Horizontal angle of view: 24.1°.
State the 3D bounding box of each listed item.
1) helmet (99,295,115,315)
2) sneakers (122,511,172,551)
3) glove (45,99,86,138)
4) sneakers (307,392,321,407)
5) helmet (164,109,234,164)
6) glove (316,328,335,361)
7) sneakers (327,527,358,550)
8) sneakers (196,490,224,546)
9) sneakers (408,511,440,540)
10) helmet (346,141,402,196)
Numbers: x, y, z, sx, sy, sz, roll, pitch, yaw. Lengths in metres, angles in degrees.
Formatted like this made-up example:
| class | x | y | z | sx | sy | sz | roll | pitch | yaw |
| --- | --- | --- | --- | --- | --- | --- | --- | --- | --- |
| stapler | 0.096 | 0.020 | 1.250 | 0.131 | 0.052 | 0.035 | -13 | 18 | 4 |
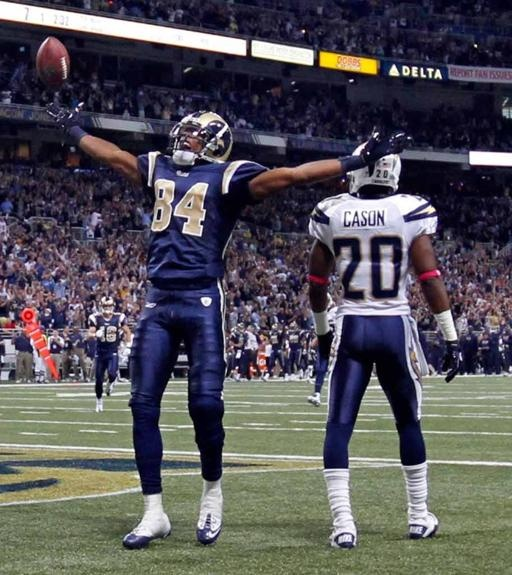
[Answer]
| class | x | y | z | sx | sy | sz | roll | pitch | yaw |
| --- | --- | --- | --- | --- | --- | --- | --- | --- | --- |
| helmet | -2.388 | 0.259 | 18.961 | 0.266 | 0.340 | 0.368 | 0 | -6 | -10 |
| sneakers | -0.575 | 1.271 | 6.294 | 0.098 | 0.131 | 0.288 | 1 | -2 | 30 |
| glove | -1.184 | -1.044 | 7.422 | 0.259 | 0.093 | 0.268 | 16 | 25 | 27 |
| sneakers | 0.750 | 1.486 | 16.067 | 0.106 | 0.175 | 0.329 | -2 | -22 | 13 |
| helmet | -0.310 | -0.866 | 6.992 | 0.274 | 0.316 | 0.370 | 1 | -2 | 37 |
| glove | 0.400 | 0.322 | 6.972 | 0.101 | 0.151 | 0.054 | -14 | -14 | 40 |
| sneakers | 0.445 | 1.286 | 6.251 | 0.144 | 0.088 | 0.169 | 0 | 2 | 3 |
| sneakers | -0.256 | 1.215 | 6.424 | 0.092 | 0.118 | 0.299 | 1 | 44 | 0 |
| sneakers | 0.887 | 1.271 | 6.400 | 0.216 | 0.096 | 0.072 | 21 | -4 | -43 |
| helmet | 0.673 | -0.697 | 6.959 | 0.245 | 0.288 | 0.304 | 5 | 12 | -1 |
